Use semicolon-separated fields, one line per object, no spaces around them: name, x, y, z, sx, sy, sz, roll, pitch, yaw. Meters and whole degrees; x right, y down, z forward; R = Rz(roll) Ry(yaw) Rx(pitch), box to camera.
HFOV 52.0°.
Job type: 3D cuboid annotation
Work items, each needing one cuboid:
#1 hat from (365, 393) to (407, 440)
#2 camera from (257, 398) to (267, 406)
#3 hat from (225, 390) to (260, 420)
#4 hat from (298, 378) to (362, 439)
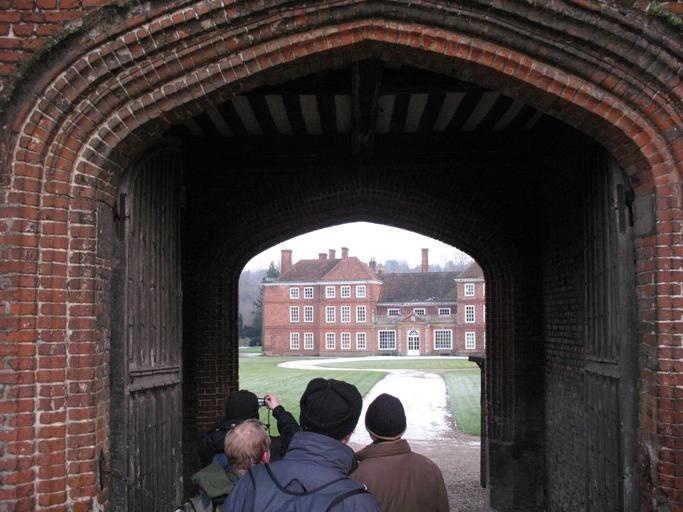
hat;0.244;0.886;3.910;0.185;0.180;0.263;-2;4;-2
camera;-0.545;0.990;4.780;0.077;0.023;0.088;-1;-2;-4
hat;-0.648;0.962;4.600;0.158;0.164;0.249;1;-1;4
hat;-0.066;0.783;3.648;0.234;0.178;0.352;9;23;14
